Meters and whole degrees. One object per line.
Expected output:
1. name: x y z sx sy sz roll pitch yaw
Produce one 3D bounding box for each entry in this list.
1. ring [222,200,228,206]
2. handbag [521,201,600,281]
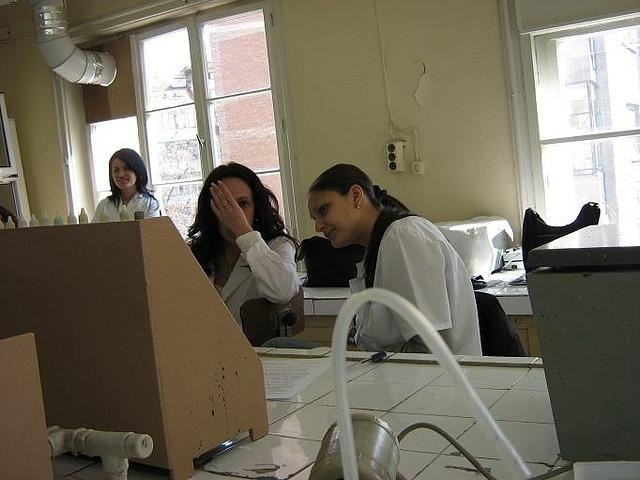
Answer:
1. ring: -0.401 -0.155 2.096 0.017 0.018 0.019 0 -7 0
2. handbag: 1.132 -0.005 2.349 0.298 0.341 0.239 -8 -2 23
